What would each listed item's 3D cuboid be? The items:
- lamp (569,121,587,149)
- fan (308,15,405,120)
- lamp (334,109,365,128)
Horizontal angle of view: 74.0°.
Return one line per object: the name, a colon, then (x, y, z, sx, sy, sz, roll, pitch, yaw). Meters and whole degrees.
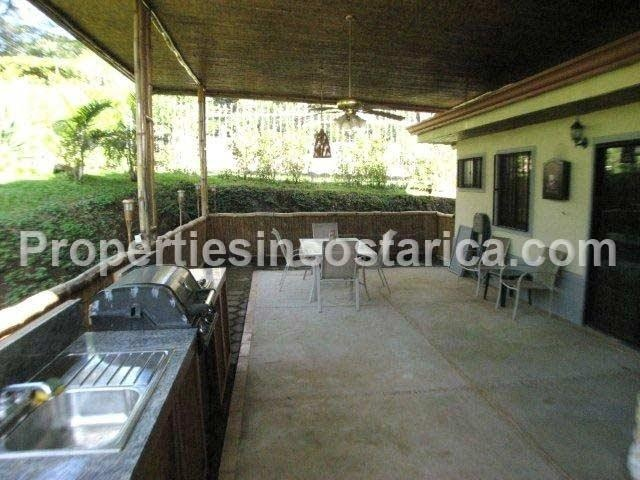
lamp: (3.259, -1.392, 5.496, 0.204, 0.359, 0.267, -1, 14, -6)
fan: (0.762, -2.474, 6.416, 1.497, 1.614, 1.564, -5, 17, -18)
lamp: (0.397, -1.704, 5.874, 0.410, 0.228, 0.447, 0, 14, 0)
